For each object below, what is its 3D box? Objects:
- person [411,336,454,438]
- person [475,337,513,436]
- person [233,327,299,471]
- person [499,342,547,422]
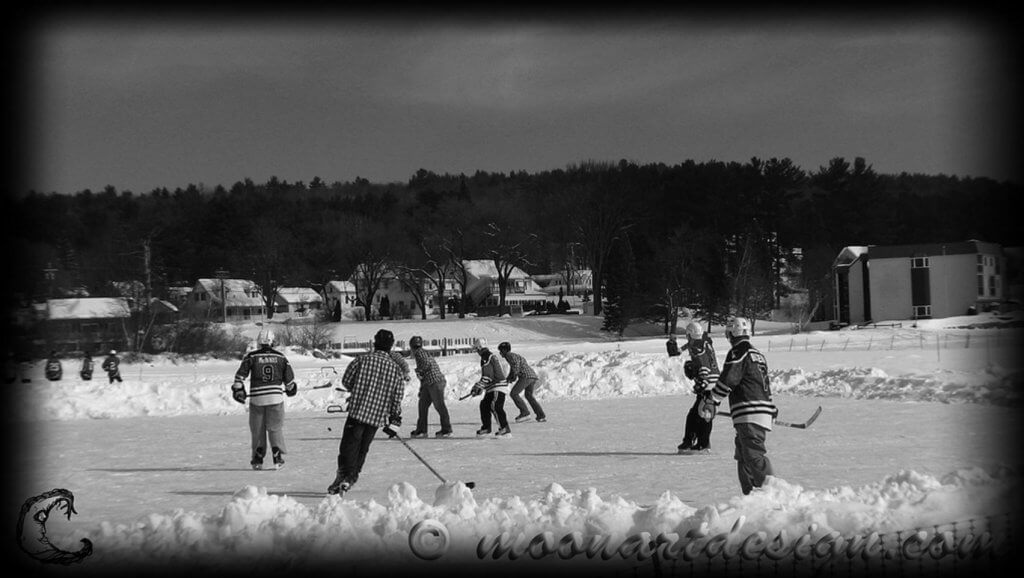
[{"bbox_3d":[-2.180,2.629,29.641,1.076,2.683,1.550,0,4,-4],"label":"person"},{"bbox_3d":[-0.547,2.676,29.541,0.883,2.513,0.997,2,-1,-23],"label":"person"},{"bbox_3d":[-5.858,2.641,26.256,1.545,3.098,1.027,2,-3,-22],"label":"person"},{"bbox_3d":[0.236,2.654,31.148,1.456,2.286,1.015,-2,-9,-11],"label":"person"}]
